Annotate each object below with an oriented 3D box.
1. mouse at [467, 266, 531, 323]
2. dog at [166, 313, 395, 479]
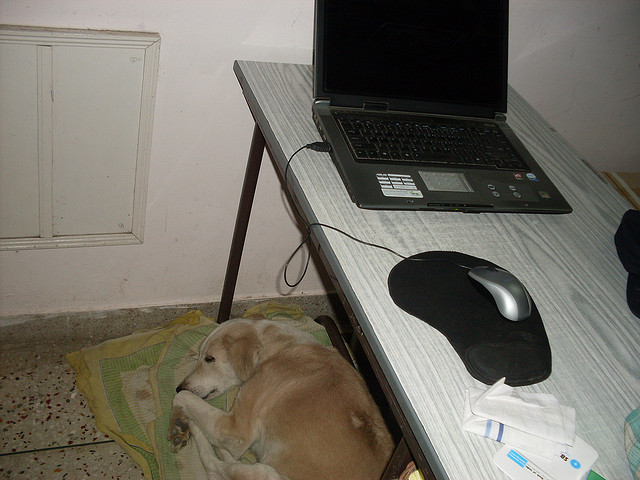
[{"bbox_3d":[0.319,0.076,0.847,0.083,0.047,0.130,-12,39,-33],"label":"mouse"},{"bbox_3d":[-0.135,0.495,1.312,0.519,0.258,0.392,30,21,8],"label":"dog"}]
